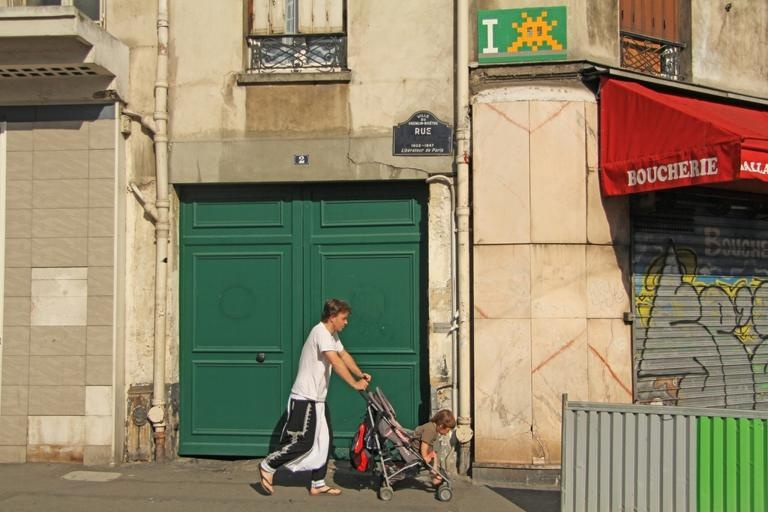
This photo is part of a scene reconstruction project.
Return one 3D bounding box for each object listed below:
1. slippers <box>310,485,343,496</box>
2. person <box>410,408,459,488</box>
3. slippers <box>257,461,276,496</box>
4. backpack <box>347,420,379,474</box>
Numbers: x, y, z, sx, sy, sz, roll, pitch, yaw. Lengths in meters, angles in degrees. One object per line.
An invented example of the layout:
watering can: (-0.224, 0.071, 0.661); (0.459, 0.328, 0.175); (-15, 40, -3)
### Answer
slippers: (-0.813, 3.243, 24.841); (0.369, 0.132, 0.169); (0, 0, -11)
person: (0.622, 2.618, 24.854); (0.605, 0.964, 0.577); (11, 7, -3)
slippers: (-1.646, 3.068, 24.781); (0.190, 0.480, 0.184); (-6, 6, 28)
backpack: (-0.307, 2.600, 24.642); (0.332, 0.665, 0.201); (-2, -8, -1)
